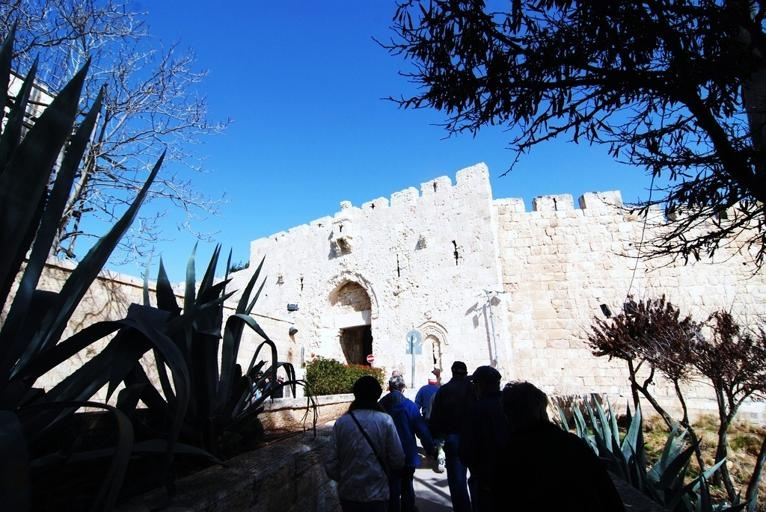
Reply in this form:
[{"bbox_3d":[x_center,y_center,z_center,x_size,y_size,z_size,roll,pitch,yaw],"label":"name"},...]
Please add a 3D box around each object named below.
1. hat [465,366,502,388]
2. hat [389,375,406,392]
[{"bbox_3d":[1.061,1.220,4.274,0.197,0.135,0.266,2,0,28],"label":"hat"},{"bbox_3d":[0.169,1.466,4.837,0.164,0.190,0.189,-1,-45,1],"label":"hat"}]
